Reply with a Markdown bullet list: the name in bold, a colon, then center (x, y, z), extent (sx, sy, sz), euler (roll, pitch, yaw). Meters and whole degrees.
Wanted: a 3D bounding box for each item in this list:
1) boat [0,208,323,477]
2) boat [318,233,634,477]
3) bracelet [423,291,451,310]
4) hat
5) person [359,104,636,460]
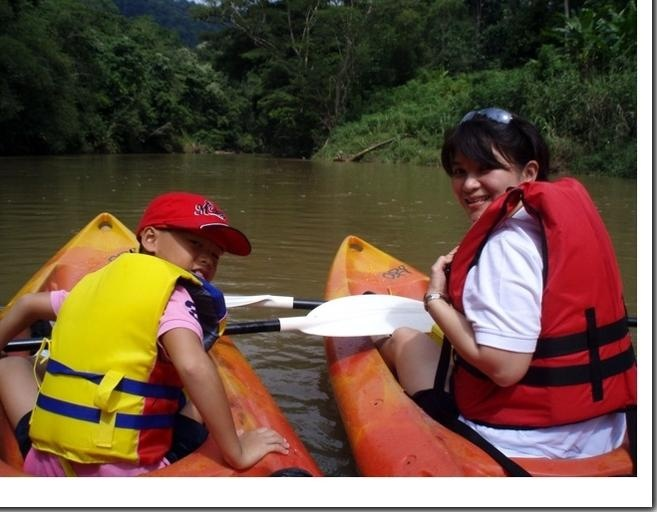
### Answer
- **boat**: center (-0.811, 0.399, 3.187), extent (0.867, 0.444, 2.674), euler (1, 21, -21)
- **boat**: center (0.527, 0.404, 2.261), extent (0.501, 0.259, 1.519), euler (-7, 22, -6)
- **bracelet**: center (0.394, 0.161, 2.190), extent (0.071, 0.060, 0.039), euler (10, 28, -3)
- **hat**: center (-0.511, -0.155, 2.249), extent (0.376, 0.198, 0.289), euler (0, -6, 32)
- **person**: center (0.636, 0.066, 2.169), extent (0.564, 1.168, 0.806), euler (-5, 10, -31)
